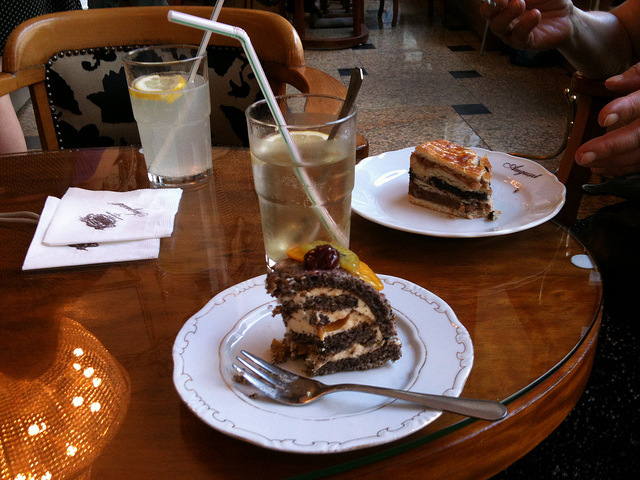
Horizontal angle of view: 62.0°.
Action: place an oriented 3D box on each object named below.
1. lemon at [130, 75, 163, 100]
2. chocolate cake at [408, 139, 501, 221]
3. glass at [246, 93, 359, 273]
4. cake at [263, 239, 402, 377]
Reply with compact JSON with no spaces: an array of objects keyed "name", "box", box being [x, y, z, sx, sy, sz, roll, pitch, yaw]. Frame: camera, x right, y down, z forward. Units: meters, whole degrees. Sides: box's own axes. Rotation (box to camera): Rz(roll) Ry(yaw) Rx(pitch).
[{"name":"lemon","box":[-0.387,-0.350,1.229,0.070,0.041,0.066,8,40,8]},{"name":"chocolate cake","box":[0.346,-0.160,1.425,0.249,0.173,0.202,20,34,36]},{"name":"glass","box":[-0.034,-0.107,1.047,0.189,0.361,0.162,-11,25,-32]},{"name":"cake","box":[0.016,0.139,0.953,0.261,0.225,0.208,5,26,19]}]
